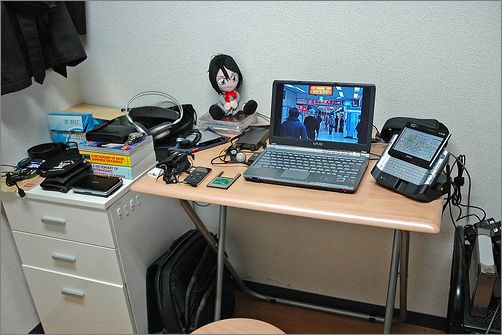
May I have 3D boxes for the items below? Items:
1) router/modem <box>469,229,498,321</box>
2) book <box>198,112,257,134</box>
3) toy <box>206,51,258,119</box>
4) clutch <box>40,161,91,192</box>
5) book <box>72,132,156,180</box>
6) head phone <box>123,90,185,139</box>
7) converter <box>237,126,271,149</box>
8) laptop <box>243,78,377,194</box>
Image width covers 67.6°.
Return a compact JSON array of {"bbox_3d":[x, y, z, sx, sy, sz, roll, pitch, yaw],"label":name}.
[{"bbox_3d":[1.047,0.474,1.704,0.084,0.307,0.258,10,29,18],"label":"router/modem"},{"bbox_3d":[-0.133,-0.254,2.166,0.210,0.048,0.186,6,26,23],"label":"book"},{"bbox_3d":[-0.092,-0.523,2.201,0.270,0.394,0.263,-13,31,-25],"label":"toy"},{"bbox_3d":[-0.987,0.047,1.967,0.157,0.057,0.202,6,24,1],"label":"clutch"},{"bbox_3d":[-0.696,-0.107,2.130,0.422,0.210,0.364,1,23,8],"label":"book"},{"bbox_3d":[-0.559,-0.318,2.206,0.352,0.132,0.336,-2,70,-13],"label":"head phone"},{"bbox_3d":[0.020,-0.171,2.060,0.102,0.036,0.187,4,29,17],"label":"converter"},{"bbox_3d":[0.324,-0.182,1.863,0.645,0.419,0.580,10,40,19],"label":"laptop"}]
